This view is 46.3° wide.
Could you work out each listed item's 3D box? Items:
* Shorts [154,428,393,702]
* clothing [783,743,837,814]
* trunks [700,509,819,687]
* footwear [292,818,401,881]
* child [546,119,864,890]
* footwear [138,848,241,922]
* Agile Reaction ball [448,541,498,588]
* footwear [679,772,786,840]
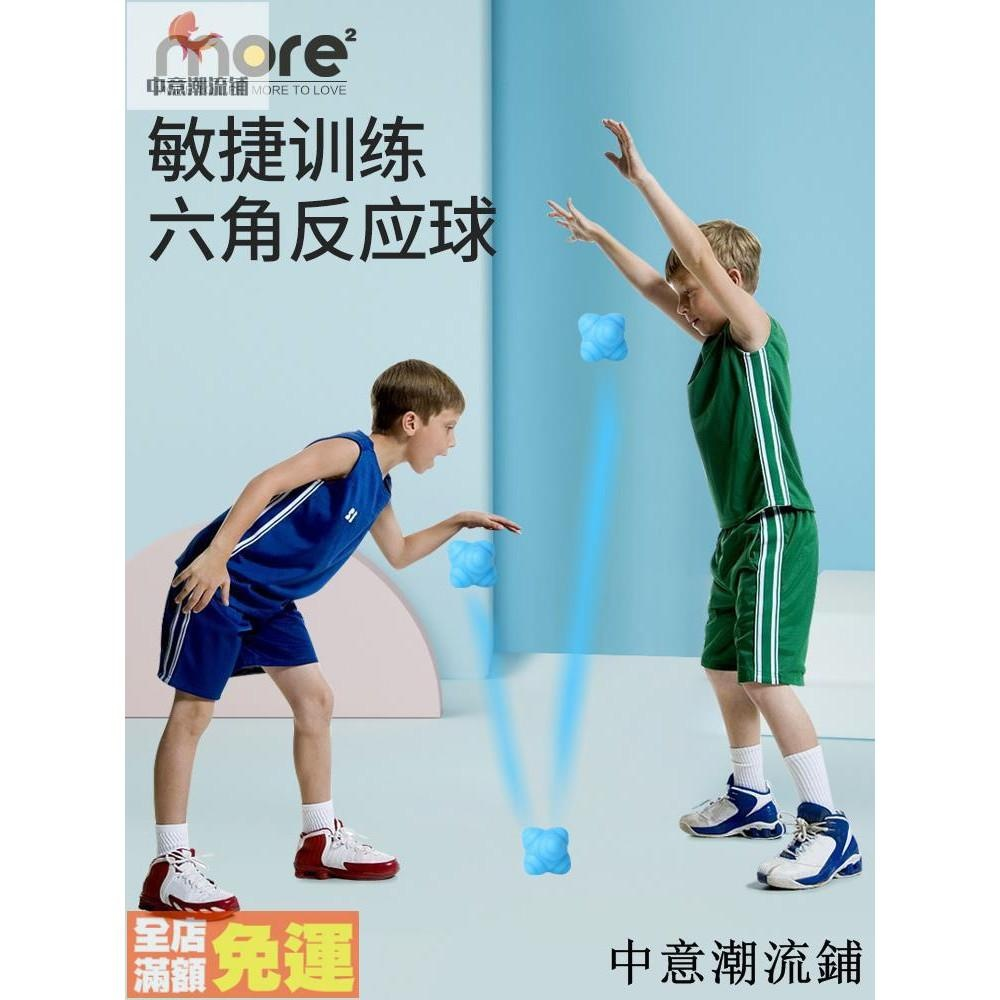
[{"bbox_3d":[-0.437,0.128,2.246,0.431,0.502,0.218,2,-10,-19],"label":"Shorts"},{"bbox_3d":[0.592,0.533,2.225,0.100,0.126,0.074,-1,-10,1],"label":"clothing"},{"bbox_3d":[0.492,0.199,2.286,0.258,0.332,0.156,-7,-11,28],"label":"trunks"},{"bbox_3d":[-0.319,0.701,2.337,0.221,0.142,0.089,1,-10,0],"label":"footwear"},{"bbox_3d":[0.395,0.066,2.292,0.547,1.360,0.354,7,-12,-40],"label":"child"},{"bbox_3d":[-0.601,0.740,2.256,0.218,0.139,0.093,2,-6,4],"label":"footwear"},{"bbox_3d":[-0.066,0.140,2.582,0.068,0.080,0.042,19,18,25],"label":"Agile Reaction ball"},{"bbox_3d":[0.470,0.640,2.440,0.243,0.174,0.096,3,-13,-2],"label":"footwear"}]
